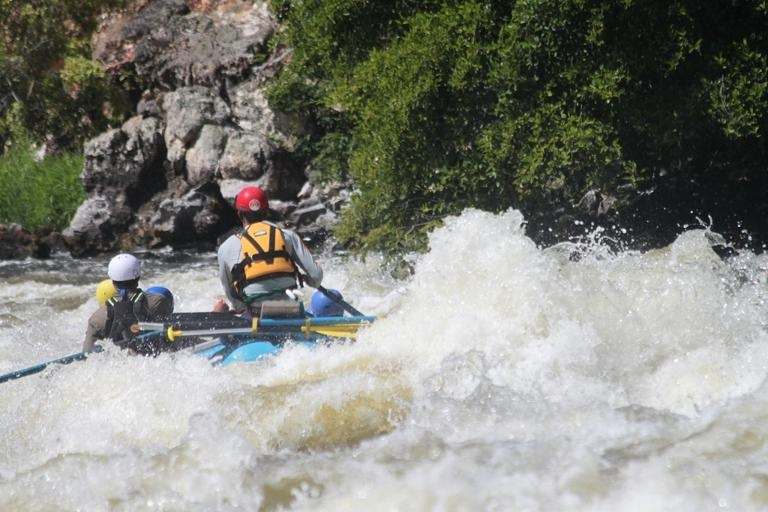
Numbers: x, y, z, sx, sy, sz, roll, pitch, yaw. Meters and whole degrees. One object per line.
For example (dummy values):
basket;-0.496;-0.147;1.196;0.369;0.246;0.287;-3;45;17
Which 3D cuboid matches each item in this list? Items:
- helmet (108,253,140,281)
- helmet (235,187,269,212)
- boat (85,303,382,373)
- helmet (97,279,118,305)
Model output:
helmet;-4.327;0.184;19.498;0.419;0.385;0.475;-3;-1;-9
helmet;-2.269;-0.987;19.759;0.377;0.407;0.509;-27;40;-34
boat;-2.503;1.177;19.564;5.374;0.982;1.588;-5;16;-8
helmet;-4.712;0.613;19.796;0.335;0.445;0.437;-2;9;-17
